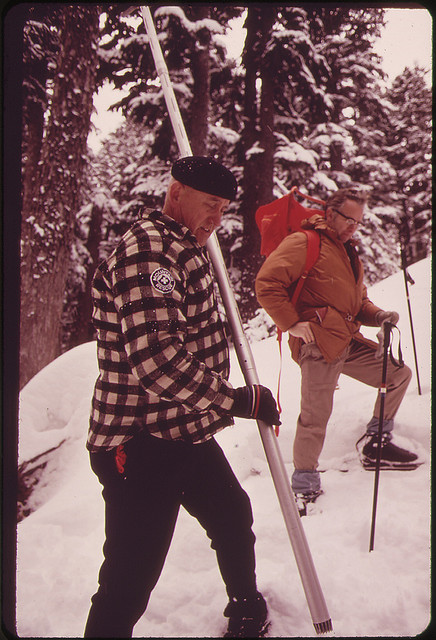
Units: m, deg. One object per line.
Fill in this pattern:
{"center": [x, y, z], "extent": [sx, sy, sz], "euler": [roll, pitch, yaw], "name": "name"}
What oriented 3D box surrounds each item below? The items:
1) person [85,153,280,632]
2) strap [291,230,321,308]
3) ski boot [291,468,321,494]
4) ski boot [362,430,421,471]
{"center": [-0.175, 0.346, 3.209], "extent": [0.841, 2.238, 0.422], "euler": [3, 4, -12], "name": "person"}
{"center": [0.572, -0.343, 4.463], "extent": [0.154, 0.498, 0.187], "euler": [5, 4, 10], "name": "strap"}
{"center": [0.562, 1.021, 4.436], "extent": [0.203, 0.142, 0.151], "euler": [-10, -17, 29], "name": "ski boot"}
{"center": [1.149, 0.895, 4.651], "extent": [0.521, 0.321, 0.166], "euler": [0, -9, 5], "name": "ski boot"}
